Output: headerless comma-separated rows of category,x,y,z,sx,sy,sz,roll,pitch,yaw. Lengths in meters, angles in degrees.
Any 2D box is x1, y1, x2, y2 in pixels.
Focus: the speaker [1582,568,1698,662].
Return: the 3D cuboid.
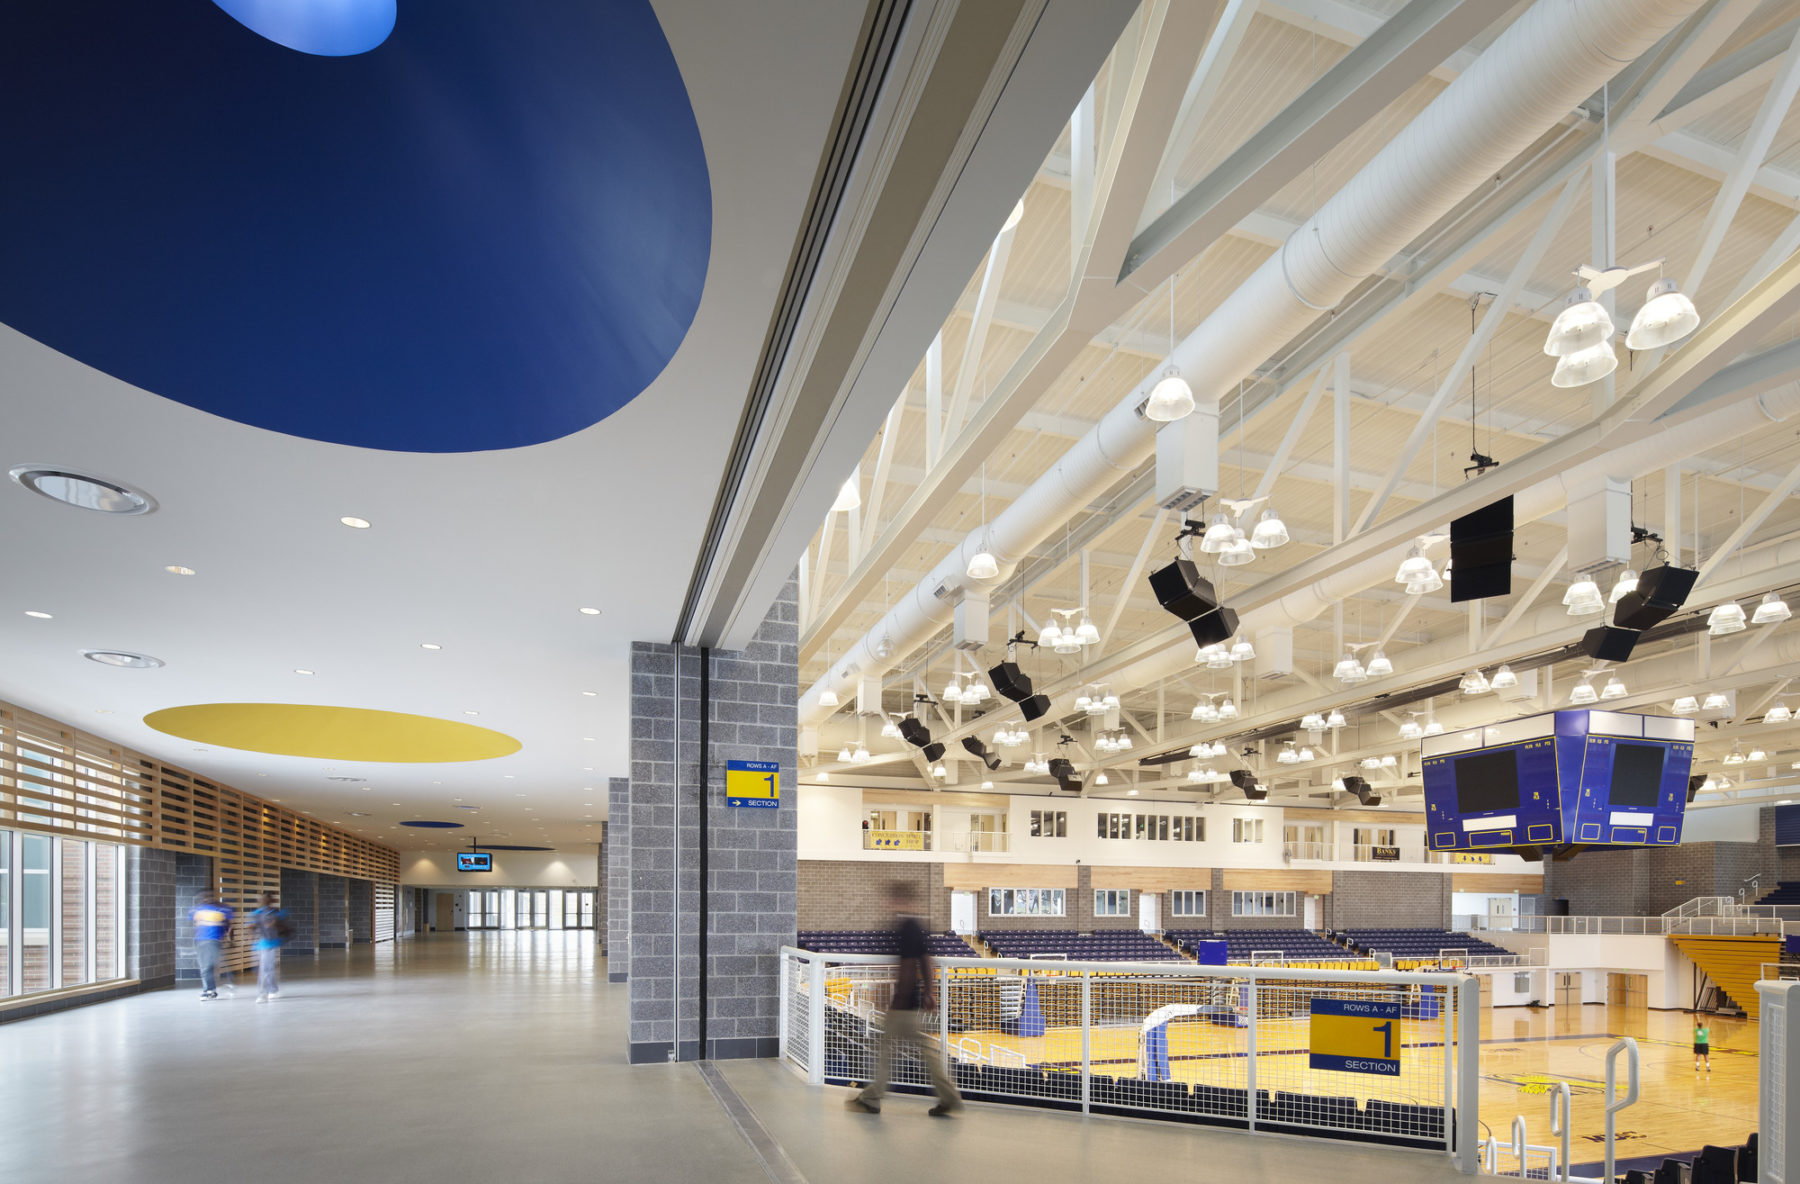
speaker,8.766,0.245,13.888,0.673,0.857,1.311,0,-15,-7
